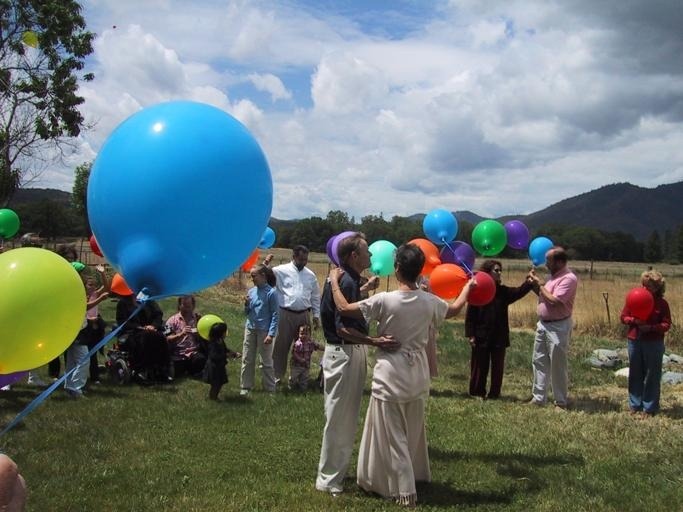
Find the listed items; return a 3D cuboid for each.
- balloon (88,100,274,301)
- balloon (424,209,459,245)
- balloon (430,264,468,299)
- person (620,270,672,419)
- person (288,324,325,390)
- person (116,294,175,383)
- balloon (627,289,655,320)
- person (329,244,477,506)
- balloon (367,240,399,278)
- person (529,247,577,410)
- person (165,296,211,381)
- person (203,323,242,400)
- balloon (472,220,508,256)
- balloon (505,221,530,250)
[{"bbox_3d":[-1.782,-0.573,6.214,1.533,2.110,1.633,19,-3,7],"label":"balloon"},{"bbox_3d":[1.575,-0.456,9.131,0.442,0.510,0.597,1,34,1],"label":"balloon"},{"bbox_3d":[1.459,0.335,7.882,0.496,0.414,0.393,-18,12,23],"label":"balloon"},{"bbox_3d":[5.067,1.466,9.538,0.699,2.427,0.588,5,9,22],"label":"person"},{"bbox_3d":[-0.678,1.940,10.773,0.538,1.289,0.563,5,9,-12],"label":"person"},{"bbox_3d":[-3.752,1.624,10.949,0.978,1.452,0.663,1,8,-3],"label":"person"},{"bbox_3d":[4.883,0.799,9.353,0.397,0.536,0.514,6,10,29],"label":"balloon"},{"bbox_3d":[0.642,1.420,7.019,1.446,3.117,0.887,2,8,7],"label":"person"},{"bbox_3d":[0.643,0.007,9.073,0.476,0.541,0.645,2,41,6],"label":"balloon"},{"bbox_3d":[3.720,1.261,10.034,0.673,2.814,0.564,5,9,25],"label":"person"},{"bbox_3d":[-3.086,1.589,11.272,0.808,1.571,1.077,8,8,25],"label":"person"},{"bbox_3d":[-2.163,1.821,9.977,0.522,1.397,0.553,-1,8,-17],"label":"person"},{"bbox_3d":[2.484,-0.310,9.812,0.542,0.638,0.714,0,15,8],"label":"balloon"},{"bbox_3d":[3.135,-0.374,10.205,0.373,0.537,0.828,8,11,36],"label":"balloon"}]
